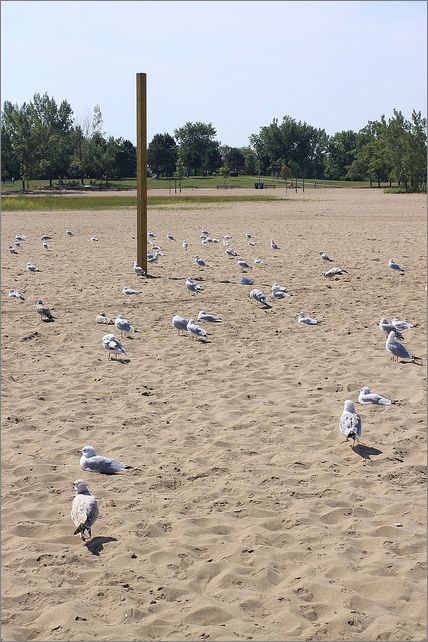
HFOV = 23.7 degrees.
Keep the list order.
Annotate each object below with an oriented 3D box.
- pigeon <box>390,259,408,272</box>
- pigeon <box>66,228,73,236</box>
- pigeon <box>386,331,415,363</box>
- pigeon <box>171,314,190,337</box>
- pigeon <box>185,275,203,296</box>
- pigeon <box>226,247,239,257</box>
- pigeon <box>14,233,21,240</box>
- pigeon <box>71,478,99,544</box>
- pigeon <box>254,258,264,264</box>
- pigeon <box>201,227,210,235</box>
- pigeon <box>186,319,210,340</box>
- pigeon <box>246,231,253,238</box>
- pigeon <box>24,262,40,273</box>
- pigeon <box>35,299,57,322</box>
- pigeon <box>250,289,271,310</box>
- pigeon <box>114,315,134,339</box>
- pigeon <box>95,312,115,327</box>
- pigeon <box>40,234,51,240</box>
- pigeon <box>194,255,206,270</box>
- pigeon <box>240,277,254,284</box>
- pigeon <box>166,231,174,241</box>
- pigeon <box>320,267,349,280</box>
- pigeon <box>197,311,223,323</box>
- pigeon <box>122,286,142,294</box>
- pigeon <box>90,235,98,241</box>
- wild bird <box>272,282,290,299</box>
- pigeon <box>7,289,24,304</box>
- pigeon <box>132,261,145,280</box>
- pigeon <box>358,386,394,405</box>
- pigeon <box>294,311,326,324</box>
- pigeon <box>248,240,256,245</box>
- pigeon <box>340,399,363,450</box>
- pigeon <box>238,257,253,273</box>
[{"bbox_3d":[4.043,-1.223,22.371,0.328,0.153,0.228,35,16,-36],"label":"pigeon"},{"bbox_3d":[-4.674,-2.931,33.707,0.170,0.361,0.489,-10,15,-21],"label":"pigeon"},{"bbox_3d":[2.462,0.327,13.756,0.426,0.508,0.264,10,-10,-4],"label":"pigeon"},{"bbox_3d":[-0.496,0.050,15.597,0.147,0.297,0.340,-3,8,-17],"label":"pigeon"},{"bbox_3d":[-0.362,-0.675,19.131,0.147,0.348,0.498,-14,17,-19],"label":"pigeon"},{"bbox_3d":[0.431,-1.762,25.903,0.176,0.253,0.314,-11,8,-38],"label":"pigeon"},{"bbox_3d":[-5.875,-2.538,30.856,0.109,0.199,0.403,-1,8,-3],"label":"pigeon"},{"bbox_3d":[-1.142,1.678,9.034,0.197,0.494,0.661,-4,7,-7],"label":"pigeon"},{"bbox_3d":[1.061,-1.433,24.075,0.163,0.150,0.102,-15,-2,3],"label":"pigeon"},{"bbox_3d":[-0.227,-2.954,33.364,0.282,0.261,0.175,2,8,-4],"label":"pigeon"},{"bbox_3d":[-0.221,0.136,15.394,0.154,0.330,0.463,-11,20,-23],"label":"pigeon"},{"bbox_3d":[1.102,-2.686,31.627,0.136,0.229,0.244,-3,-3,-38],"label":"pigeon"},{"bbox_3d":[-4.013,-1.194,22.786,0.165,0.258,0.297,-21,18,-34],"label":"pigeon"},{"bbox_3d":[-2.718,-0.163,16.697,0.156,0.349,0.495,-6,14,-23],"label":"pigeon"},{"bbox_3d":[0.849,-0.419,18.119,0.368,0.313,0.711,0,15,0],"label":"pigeon"},{"bbox_3d":[-1.300,0.045,15.215,0.165,0.365,0.516,-3,4,-17],"label":"pigeon"},{"bbox_3d":[-1.722,-0.025,16.298,0.281,0.201,0.498,-2,15,-8],"label":"pigeon"},{"bbox_3d":[-5.150,-2.602,31.583,0.147,0.251,0.484,2,8,36],"label":"pigeon"},{"bbox_3d":[-0.312,-1.349,23.510,0.395,0.307,0.124,18,18,39],"label":"pigeon"},{"bbox_3d":[0.649,-0.807,20.233,0.117,0.157,0.202,-8,3,-25],"label":"pigeon"},{"bbox_3d":[-1.324,-2.619,31.439,0.122,0.269,0.363,-22,34,-35],"label":"pigeon"},{"bbox_3d":[2.451,-0.959,20.565,0.490,0.217,0.308,-17,13,4],"label":"pigeon"},{"bbox_3d":[-0.054,-0.057,16.208,0.250,0.204,0.200,-1,-5,11],"label":"pigeon"},{"bbox_3d":[-1.499,-0.553,18.572,0.254,0.194,0.160,-2,-4,6],"label":"pigeon"},{"bbox_3d":[-3.588,-2.519,31.038,0.124,0.187,0.243,-5,-6,-18],"label":"pigeon"},{"bbox_3d":[1.207,-0.542,18.585,0.260,0.184,0.258,-18,7,-40],"label":"wild bird"},{"bbox_3d":[-3.560,-0.458,18.470,0.177,0.271,0.374,-8,7,-34],"label":"pigeon"},{"bbox_3d":[-1.546,-1.115,21.995,0.197,0.476,0.353,-9,11,-39],"label":"pigeon"},{"bbox_3d":[1.863,0.854,11.815,0.296,0.245,0.193,-2,-10,23],"label":"pigeon"},{"bbox_3d":[1.500,-0.069,16.343,0.271,0.242,0.182,1,-4,16],"label":"pigeon"},{"bbox_3d":[1.105,-2.254,29.360,0.180,0.145,0.107,-18,-8,36],"label":"pigeon"},{"bbox_3d":[1.461,1.082,10.858,0.194,0.475,0.547,-1,4,3],"label":"pigeon"},{"bbox_3d":[0.630,-1.262,22.449,0.142,0.318,0.426,-10,15,-35],"label":"pigeon"}]
